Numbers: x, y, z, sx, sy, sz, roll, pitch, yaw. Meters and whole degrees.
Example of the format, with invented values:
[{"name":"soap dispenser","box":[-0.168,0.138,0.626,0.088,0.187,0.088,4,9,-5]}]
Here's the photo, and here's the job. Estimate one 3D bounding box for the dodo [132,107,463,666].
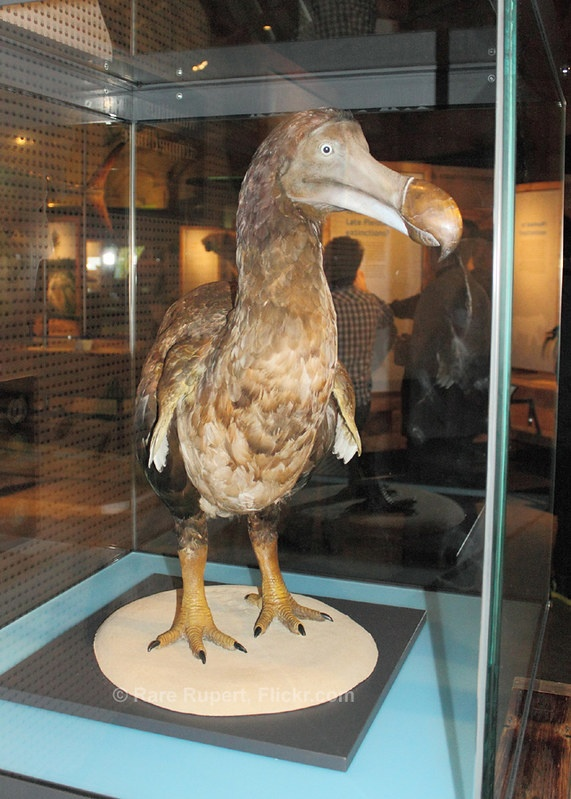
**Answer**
[{"name":"dodo","box":[-0.022,-0.001,1.118,0.559,0.836,0.257,12,15,25]}]
